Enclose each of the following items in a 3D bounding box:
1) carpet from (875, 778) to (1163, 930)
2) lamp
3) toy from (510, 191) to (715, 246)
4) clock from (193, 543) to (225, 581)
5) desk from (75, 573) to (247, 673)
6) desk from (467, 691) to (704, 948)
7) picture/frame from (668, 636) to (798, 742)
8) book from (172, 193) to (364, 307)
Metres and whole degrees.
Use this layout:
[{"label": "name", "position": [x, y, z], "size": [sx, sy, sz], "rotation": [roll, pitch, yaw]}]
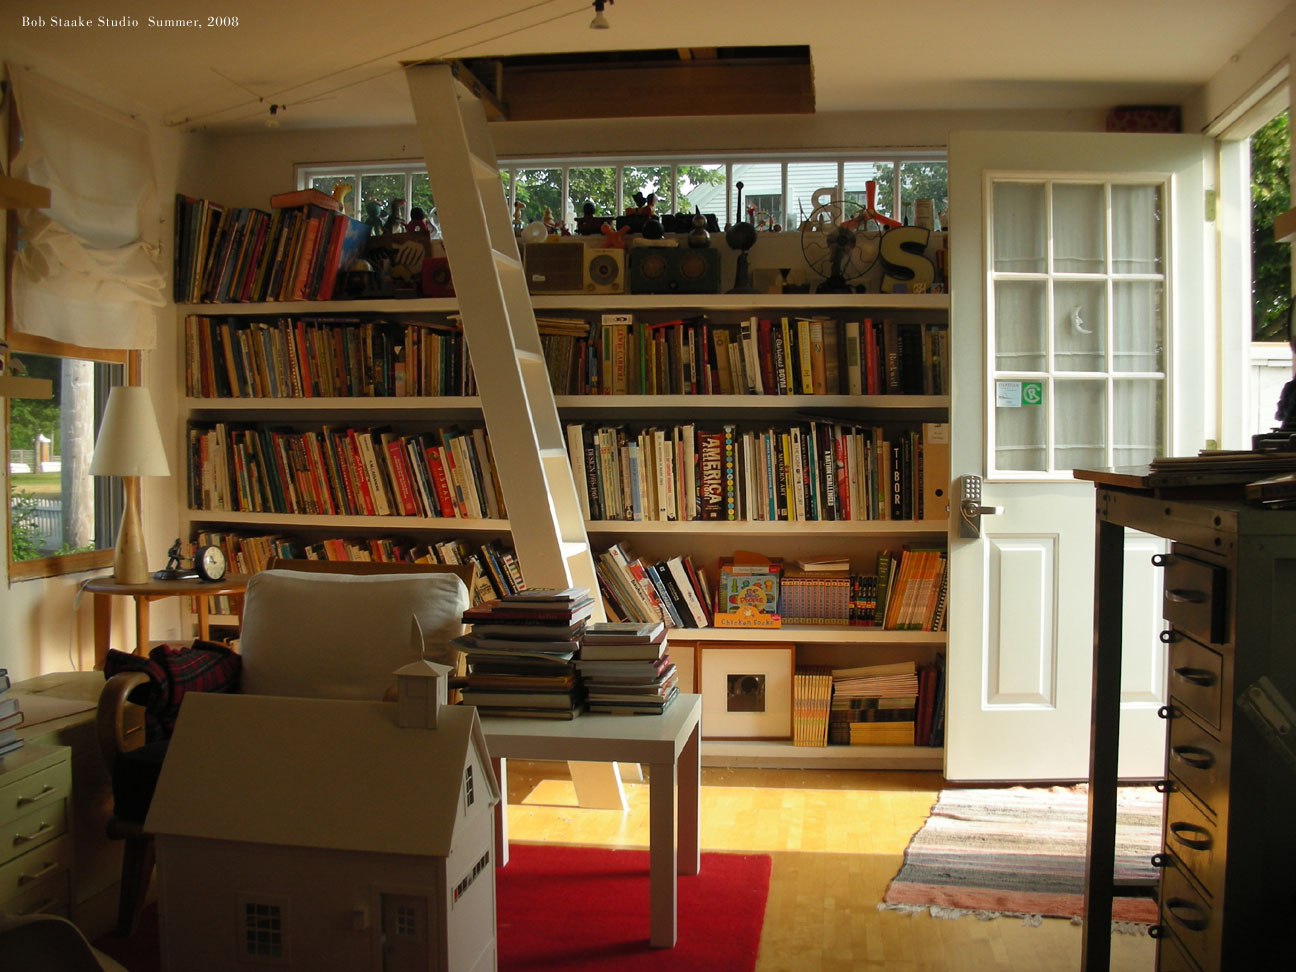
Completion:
[{"label": "carpet", "position": [1.315, 1.281, 3.719], "size": [0.955, 0.805, 0.017], "rotation": [-10, 36, 19]}, {"label": "lamp", "position": [-2.153, -0.015, 4.417], "size": [0.273, 0.784, 0.463], "rotation": [-6, 10, -31]}, {"label": "toy", "position": [-0.151, -1.178, 4.736], "size": [0.930, 0.224, 0.385], "rotation": [0, 8, 4]}, {"label": "clock", "position": [-1.821, 0.327, 4.433], "size": [0.049, 0.108, 0.122], "rotation": [-4, -11, 28]}, {"label": "desk", "position": [-2.020, 0.493, 4.437], "size": [0.528, 0.339, 0.513], "rotation": [1, 0, -31]}, {"label": "desk", "position": [-0.154, 0.953, 3.364], "size": [0.749, 0.653, 0.716], "rotation": [0, -2, 15]}, {"label": "picture/frame", "position": [0.367, 0.844, 4.770], "size": [0.737, 0.493, 0.390], "rotation": [1, 1, 1]}, {"label": "book", "position": [-1.735, -1.054, 4.770], "size": [0.818, 0.469, 0.206], "rotation": [1, 9, 14]}]
